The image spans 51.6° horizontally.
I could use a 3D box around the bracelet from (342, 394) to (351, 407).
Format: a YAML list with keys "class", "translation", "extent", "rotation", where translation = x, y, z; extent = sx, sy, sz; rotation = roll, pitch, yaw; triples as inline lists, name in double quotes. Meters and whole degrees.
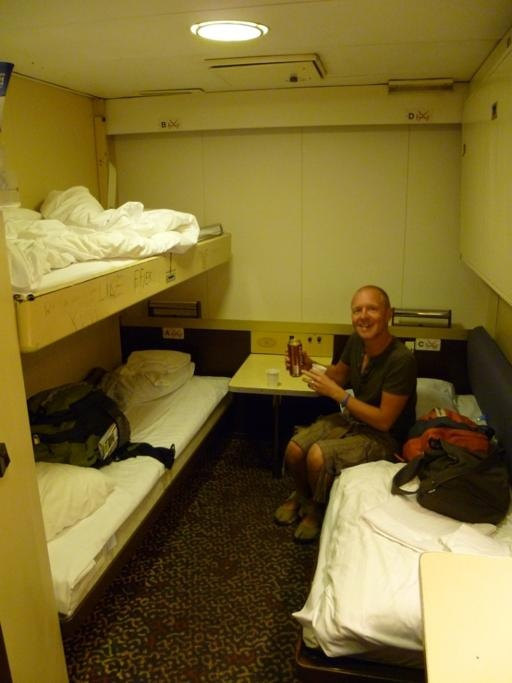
- class: "bracelet"
  translation: [0.459, 0.303, 2.686]
  extent: [0.030, 0.066, 0.050]
  rotation: [11, 13, 13]

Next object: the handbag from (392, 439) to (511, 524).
- class: "handbag"
  translation: [0.757, 0.533, 2.021]
  extent: [0.313, 0.112, 0.304]
  rotation: [-33, 34, -32]

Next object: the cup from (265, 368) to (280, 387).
- class: "cup"
  translation: [0.099, 0.213, 3.136]
  extent: [0.086, 0.081, 0.091]
  rotation: [1, 5, 0]

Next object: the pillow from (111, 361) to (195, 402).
- class: "pillow"
  translation: [-0.733, 0.242, 3.330]
  extent: [0.243, 0.078, 0.260]
  rotation: [6, 27, 42]

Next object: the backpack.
- class: "backpack"
  translation: [-0.816, 0.436, 2.561]
  extent: [0.565, 0.174, 0.445]
  rotation: [16, 20, 23]

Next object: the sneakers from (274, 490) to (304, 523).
- class: "sneakers"
  translation: [0.188, 0.913, 2.928]
  extent: [0.084, 0.104, 0.266]
  rotation: [3, 0, 18]

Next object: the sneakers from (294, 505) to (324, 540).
- class: "sneakers"
  translation: [0.273, 0.940, 2.764]
  extent: [0.081, 0.095, 0.241]
  rotation: [0, 3, 11]

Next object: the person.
- class: "person"
  translation: [0.495, 0.354, 2.828]
  extent: [0.707, 1.267, 0.631]
  rotation: [-2, 11, -33]

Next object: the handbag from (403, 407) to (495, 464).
- class: "handbag"
  translation: [0.867, 0.408, 2.347]
  extent: [0.295, 0.107, 0.292]
  rotation: [-23, 12, -19]
